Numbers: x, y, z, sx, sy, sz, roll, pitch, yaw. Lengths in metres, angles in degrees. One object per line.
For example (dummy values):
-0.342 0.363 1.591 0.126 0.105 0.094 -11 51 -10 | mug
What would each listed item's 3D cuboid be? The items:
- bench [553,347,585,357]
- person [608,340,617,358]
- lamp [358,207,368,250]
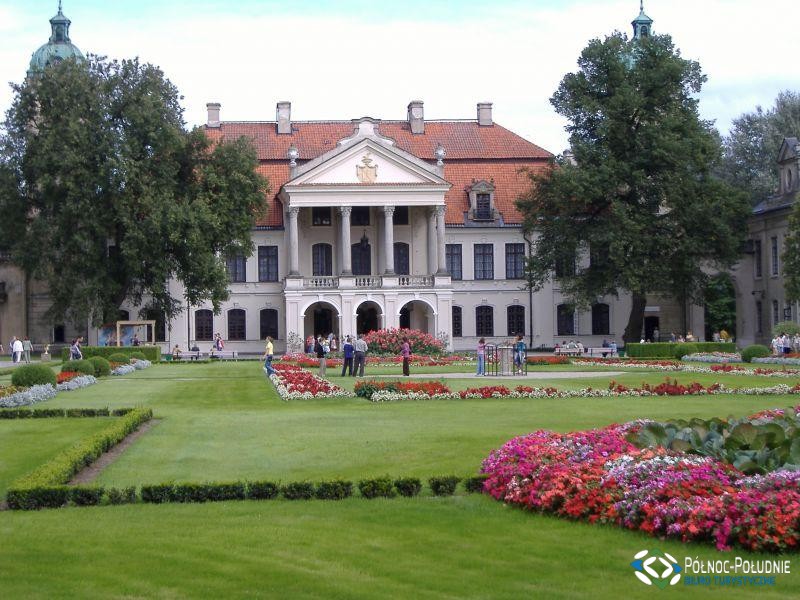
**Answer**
8.342 2.604 69.028 1.280 0.582 4.292 -1 -6 9 | bench
10.595 2.529 70.379 0.651 0.860 0.615 1 3 19 | person
-1.830 -3.866 75.887 0.477 1.986 0.489 0 -6 -2 | lamp
